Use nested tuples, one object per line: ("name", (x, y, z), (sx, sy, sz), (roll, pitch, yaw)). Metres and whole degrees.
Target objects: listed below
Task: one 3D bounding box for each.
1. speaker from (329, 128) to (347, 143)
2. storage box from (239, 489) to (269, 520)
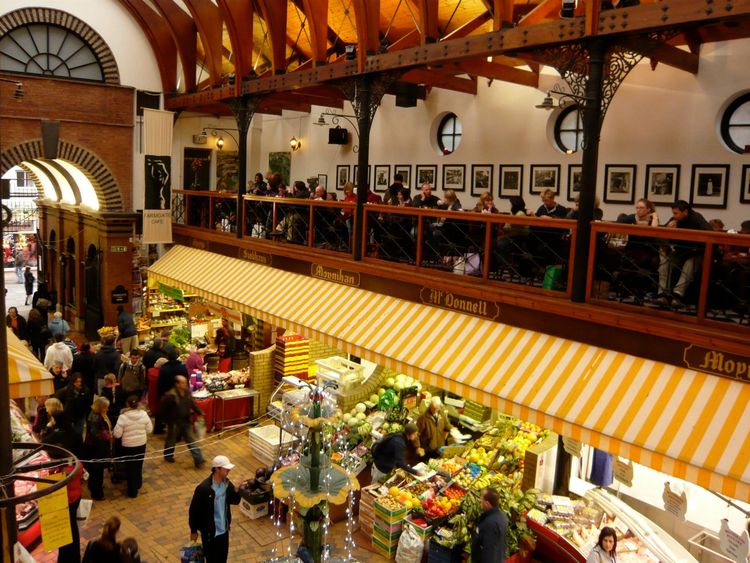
("speaker", (-1.136, -4.565, 17.943), (0.648, 0.524, 0.400), (1, 7, 4))
("storage box", (-2.143, 3.727, 10.207), (0.361, 0.519, 0.653), (-5, 12, -36))
